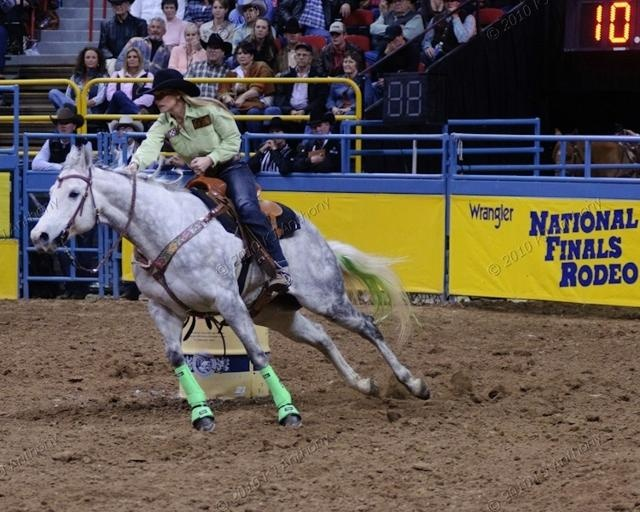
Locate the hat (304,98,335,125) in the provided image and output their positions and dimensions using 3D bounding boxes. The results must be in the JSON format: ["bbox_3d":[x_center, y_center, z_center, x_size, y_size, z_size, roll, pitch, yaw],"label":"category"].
[{"bbox_3d":[-0.014,-1.872,15.302,0.407,0.155,0.444,-5,3,3],"label":"hat"}]

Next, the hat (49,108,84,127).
[{"bbox_3d":[-3.364,-1.837,15.654,0.416,0.269,0.271,-5,13,-14],"label":"hat"}]

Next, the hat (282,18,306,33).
[{"bbox_3d":[-0.415,-3.413,17.266,0.426,0.148,0.440,0,3,-6],"label":"hat"}]

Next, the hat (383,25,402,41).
[{"bbox_3d":[1.075,-3.318,17.511,0.131,0.225,0.405,-7,13,-21],"label":"hat"}]

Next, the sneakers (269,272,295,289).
[{"bbox_3d":[-0.350,0.210,10.372,0.220,0.130,0.130,11,-5,-14],"label":"sneakers"}]

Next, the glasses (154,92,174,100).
[{"bbox_3d":[-1.377,-1.404,10.249,0.109,0.053,0.078,-19,5,-38],"label":"glasses"}]

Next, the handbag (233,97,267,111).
[{"bbox_3d":[-0.958,-2.083,16.130,0.378,0.123,0.200,-4,15,-10],"label":"handbag"}]

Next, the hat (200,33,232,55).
[{"bbox_3d":[-1.467,-3.042,17.012,0.292,0.313,0.519,5,14,25],"label":"hat"}]

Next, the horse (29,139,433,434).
[{"bbox_3d":[-0.655,0.343,10.642,4.239,2.305,0.928,7,-19,-42],"label":"horse"}]
